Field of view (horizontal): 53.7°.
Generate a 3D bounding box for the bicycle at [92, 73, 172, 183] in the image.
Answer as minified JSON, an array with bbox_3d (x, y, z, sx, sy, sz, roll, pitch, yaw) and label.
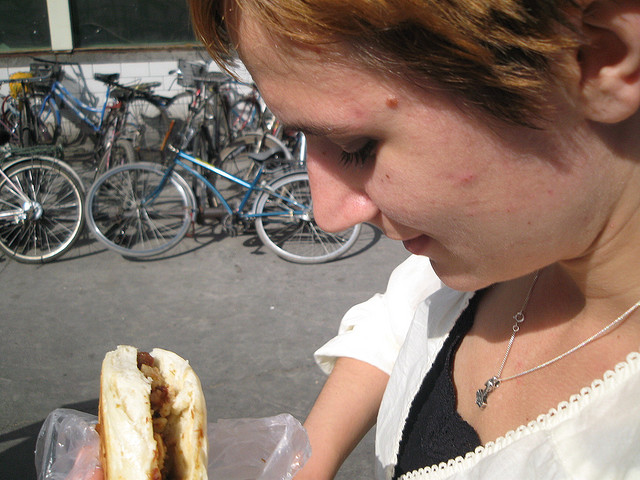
[{"bbox_3d":[-2.446,-1.428,7.789,0.845,1.895,1.289,-11,96,-7],"label":"bicycle"}]
